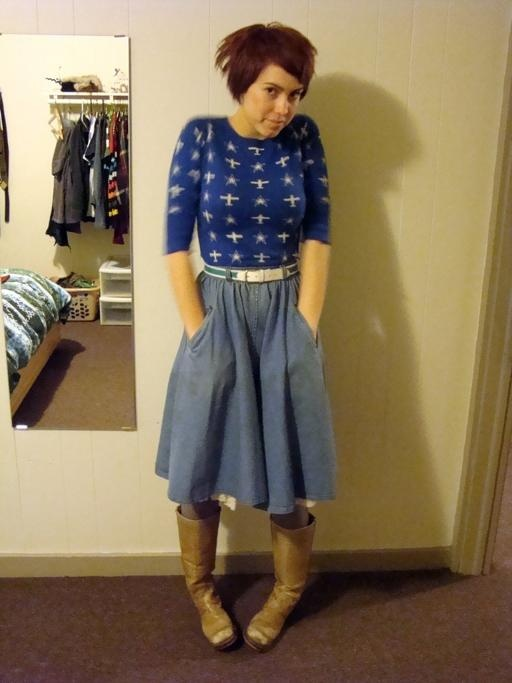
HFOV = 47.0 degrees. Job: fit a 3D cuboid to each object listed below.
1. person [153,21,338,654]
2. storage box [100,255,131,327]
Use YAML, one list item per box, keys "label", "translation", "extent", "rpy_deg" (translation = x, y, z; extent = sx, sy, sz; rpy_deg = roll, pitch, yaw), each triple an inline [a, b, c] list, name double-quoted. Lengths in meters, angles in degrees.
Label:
- label: "person"
  translation: [-0.021, -0.129, 1.275]
  extent: [0.400, 1.023, 0.229]
  rpy_deg: [-2, 11, -12]
- label: "storage box"
  translation: [-0.349, -0.120, 1.482]
  extent: [0.081, 0.150, 0.137]
  rpy_deg: [0, 17, -2]
